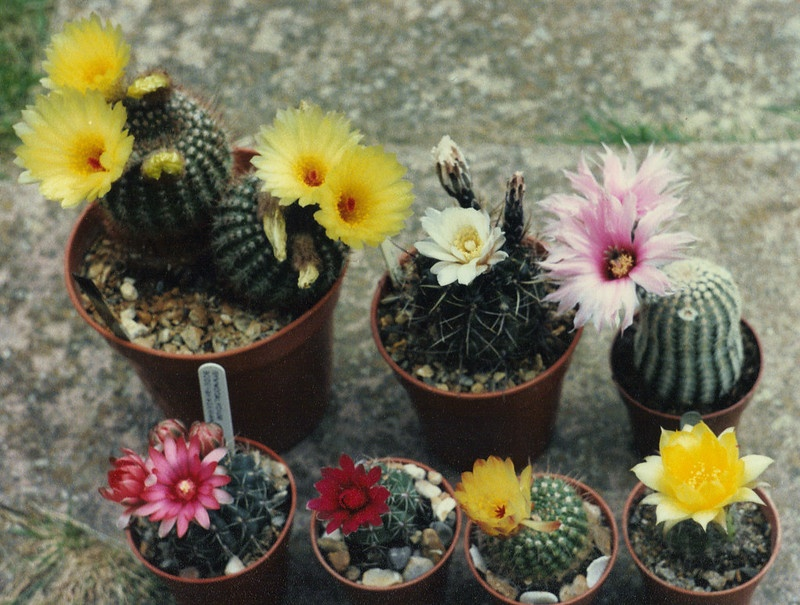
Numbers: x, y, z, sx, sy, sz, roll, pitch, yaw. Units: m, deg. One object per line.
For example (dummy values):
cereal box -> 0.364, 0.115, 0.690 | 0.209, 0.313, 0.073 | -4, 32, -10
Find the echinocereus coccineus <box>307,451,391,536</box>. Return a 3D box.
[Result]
echinocereus coccineus -> -0.091, 0.381, 1.548 | 0.147, 0.197, 0.115 | -10, 47, -9

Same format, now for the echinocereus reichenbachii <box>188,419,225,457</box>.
echinocereus reichenbachii -> -0.352, 0.248, 1.546 | 0.051, 0.062, 0.059 | 1, 30, -2

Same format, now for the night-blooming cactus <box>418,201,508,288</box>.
night-blooming cactus -> 0.116, -0.111, 1.588 | 0.142, 0.154, 0.124 | -6, 43, -1

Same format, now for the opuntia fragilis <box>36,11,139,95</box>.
opuntia fragilis -> -0.603, -0.471, 1.634 | 0.152, 0.076, 0.176 | -17, 92, 5

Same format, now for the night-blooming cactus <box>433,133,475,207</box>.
night-blooming cactus -> 0.104, -0.258, 1.666 | 0.071, 0.146, 0.090 | -8, 39, -1
